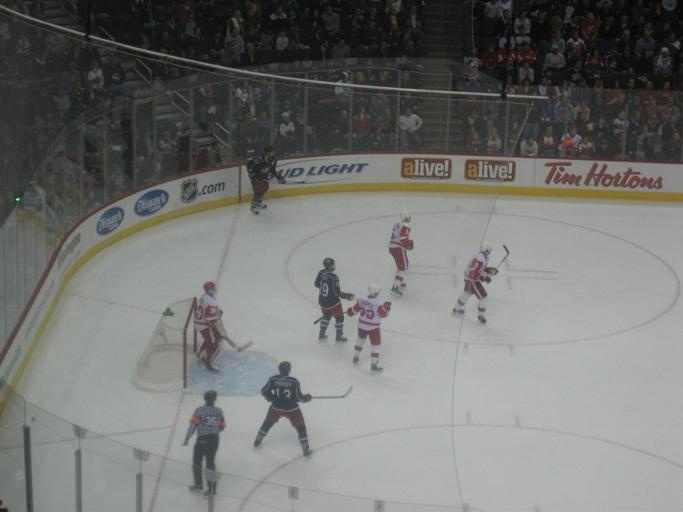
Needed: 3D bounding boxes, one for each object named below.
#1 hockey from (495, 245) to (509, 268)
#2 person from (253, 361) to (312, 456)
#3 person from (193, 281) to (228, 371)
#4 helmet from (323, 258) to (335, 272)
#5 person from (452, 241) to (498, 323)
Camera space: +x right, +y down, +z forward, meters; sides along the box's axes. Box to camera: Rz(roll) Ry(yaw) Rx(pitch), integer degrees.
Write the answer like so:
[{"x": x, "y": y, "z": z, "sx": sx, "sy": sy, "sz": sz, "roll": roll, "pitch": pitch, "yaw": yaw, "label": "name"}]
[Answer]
[{"x": 3.532, "y": -0.053, "z": 24.077, "sx": 0.128, "sy": 0.462, "sz": 0.446, "roll": 11, "pitch": 21, "yaw": -4, "label": "hockey"}, {"x": -0.860, "y": 2.331, "z": 17.551, "sx": 0.901, "sy": 1.487, "sz": 0.471, "roll": 6, "pitch": 17, "yaw": 16, "label": "person"}, {"x": -2.258, "y": 1.253, "z": 19.282, "sx": 0.581, "sy": 1.593, "sz": 0.613, "roll": -19, "pitch": 42, "yaw": -27, "label": "person"}, {"x": -0.243, "y": 0.132, "z": 19.656, "sx": 0.234, "sy": 0.237, "sz": 0.182, "roll": 3, "pitch": 23, "yaw": 15, "label": "helmet"}, {"x": 2.628, "y": 0.548, "z": 21.800, "sx": 0.819, "sy": 1.499, "sz": 0.584, "roll": -7, "pitch": 57, "yaw": 5, "label": "person"}]
